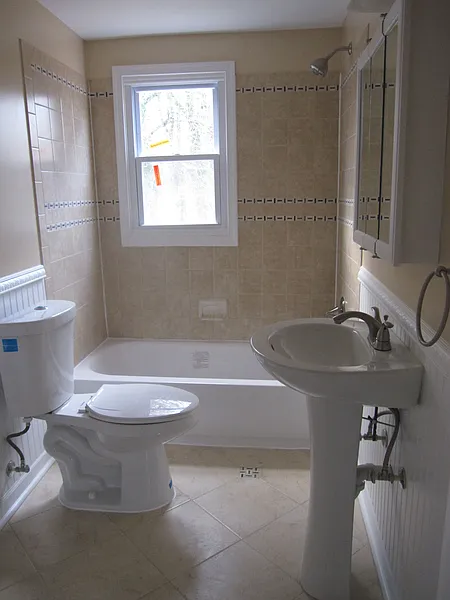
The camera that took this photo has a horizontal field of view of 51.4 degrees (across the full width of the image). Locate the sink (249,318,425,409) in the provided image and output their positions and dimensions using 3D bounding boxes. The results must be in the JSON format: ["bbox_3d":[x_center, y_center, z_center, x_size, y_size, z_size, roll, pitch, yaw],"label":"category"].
[{"bbox_3d":[0.281,0.169,1.331,0.409,0.150,0.463,-1,9,3],"label":"sink"}]
